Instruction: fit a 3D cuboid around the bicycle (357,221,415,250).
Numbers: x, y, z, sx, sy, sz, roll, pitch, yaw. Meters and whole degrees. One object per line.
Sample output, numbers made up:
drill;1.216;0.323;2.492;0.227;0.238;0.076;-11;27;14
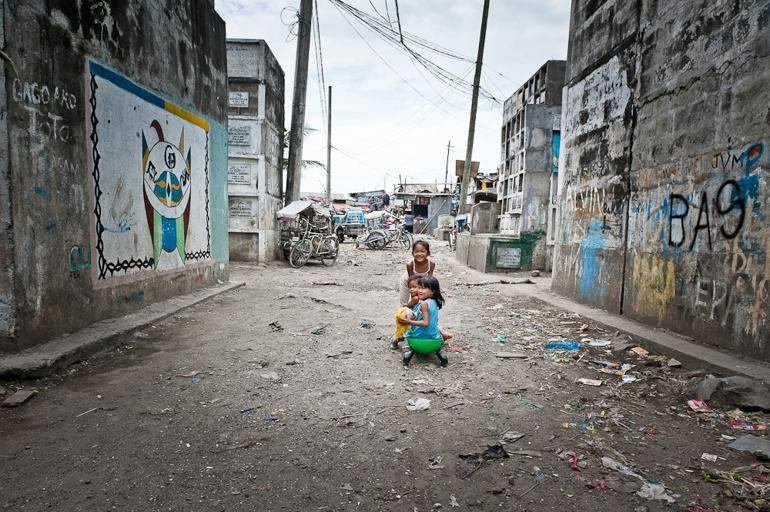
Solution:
bicycle;-0.075;-0.749;20.116;2.349;1.189;0.996;-8;29;-10

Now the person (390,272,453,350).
person;0.482;0.664;5.953;0.861;0.994;0.308;6;27;1

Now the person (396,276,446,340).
person;0.394;0.601;5.852;0.567;0.759;0.418;3;4;3

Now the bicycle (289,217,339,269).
bicycle;-1.873;-0.272;13.278;0.731;1.039;1.633;13;10;42

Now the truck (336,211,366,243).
truck;-1.486;-1.710;24.305;1.383;1.406;2.420;-2;20;-8
